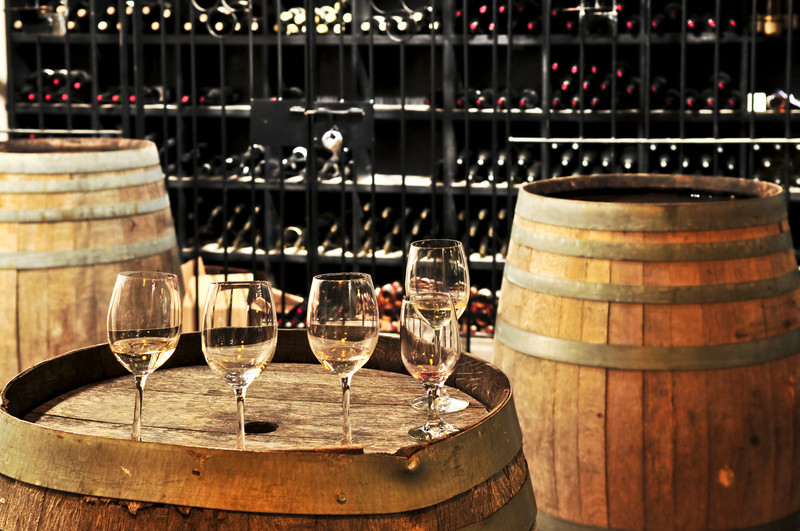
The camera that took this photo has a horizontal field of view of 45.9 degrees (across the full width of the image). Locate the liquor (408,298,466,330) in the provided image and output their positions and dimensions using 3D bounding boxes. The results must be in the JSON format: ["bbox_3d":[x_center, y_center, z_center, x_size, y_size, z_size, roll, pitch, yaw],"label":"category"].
[{"bbox_3d":[0.093,0.126,2.479,0.088,0.077,0.101,-1,0,-3],"label":"liquor"}]
